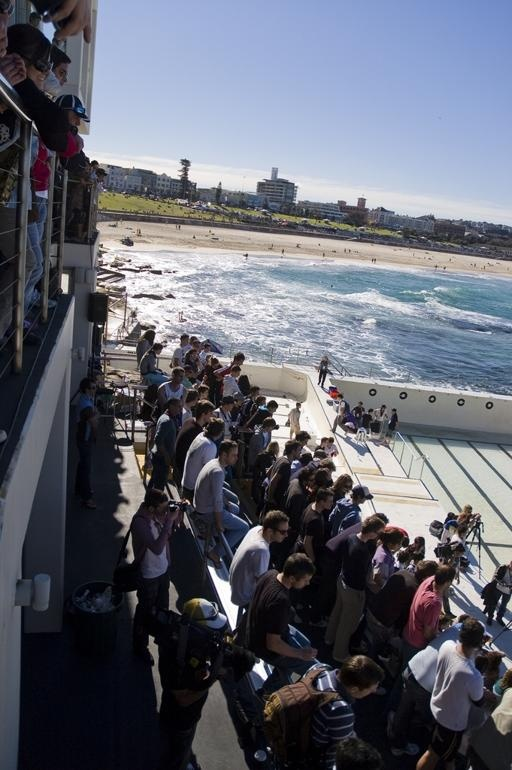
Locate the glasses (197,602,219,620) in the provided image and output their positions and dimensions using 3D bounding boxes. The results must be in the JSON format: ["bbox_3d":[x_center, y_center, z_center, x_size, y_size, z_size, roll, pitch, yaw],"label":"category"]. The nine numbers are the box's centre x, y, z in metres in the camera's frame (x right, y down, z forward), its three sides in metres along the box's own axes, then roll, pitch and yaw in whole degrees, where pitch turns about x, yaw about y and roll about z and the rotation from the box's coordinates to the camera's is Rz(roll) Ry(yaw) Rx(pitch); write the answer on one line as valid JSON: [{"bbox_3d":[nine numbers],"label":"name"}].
[{"bbox_3d":[-0.372,1.748,4.244,0.127,0.038,0.122,-7,12,-4],"label":"glasses"}]

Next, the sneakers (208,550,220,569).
[{"bbox_3d":[-0.445,1.850,5.836,0.075,0.207,0.070,-16,-23,5],"label":"sneakers"}]

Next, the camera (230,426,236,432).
[{"bbox_3d":[-0.394,0.755,9.165,0.081,0.150,0.085,0,8,-10],"label":"camera"}]

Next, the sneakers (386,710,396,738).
[{"bbox_3d":[1.161,2.910,4.736,0.075,0.195,0.141,-1,-9,-3],"label":"sneakers"}]

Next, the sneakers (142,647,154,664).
[{"bbox_3d":[-0.997,2.502,5.054,0.036,0.114,0.114,-17,43,-10],"label":"sneakers"}]

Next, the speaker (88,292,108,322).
[{"bbox_3d":[-3.178,-1.526,10.969,0.329,0.617,0.333,3,29,-9],"label":"speaker"}]

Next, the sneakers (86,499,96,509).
[{"bbox_3d":[-2.221,1.612,7.398,0.062,0.077,0.178,3,3,-27],"label":"sneakers"}]

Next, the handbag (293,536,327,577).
[{"bbox_3d":[0.569,1.770,5.850,0.247,0.391,0.425,8,16,-3],"label":"handbag"}]
